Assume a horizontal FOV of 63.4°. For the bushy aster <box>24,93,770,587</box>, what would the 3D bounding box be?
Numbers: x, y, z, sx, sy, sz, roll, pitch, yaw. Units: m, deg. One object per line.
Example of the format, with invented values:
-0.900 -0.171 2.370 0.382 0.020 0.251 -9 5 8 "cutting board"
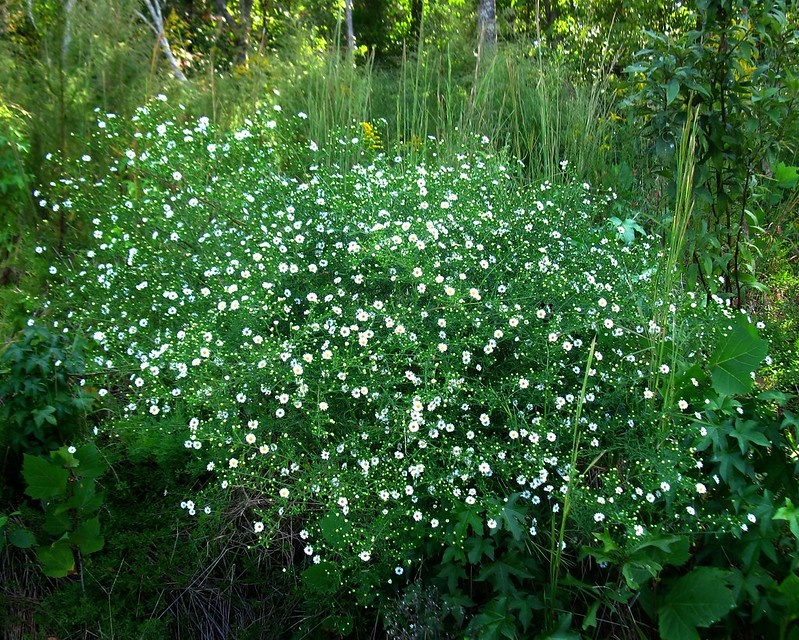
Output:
0.011 -0.060 3.714 3.036 1.939 2.631 6 39 0 "bushy aster"
